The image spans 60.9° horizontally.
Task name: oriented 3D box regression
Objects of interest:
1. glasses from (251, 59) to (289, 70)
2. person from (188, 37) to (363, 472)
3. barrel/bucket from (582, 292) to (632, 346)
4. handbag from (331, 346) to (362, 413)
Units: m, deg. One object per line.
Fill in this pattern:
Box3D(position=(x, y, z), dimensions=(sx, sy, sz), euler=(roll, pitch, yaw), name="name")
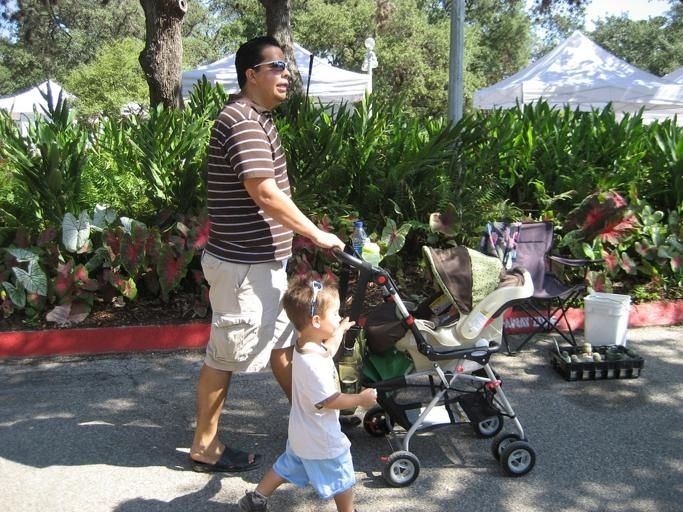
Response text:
Box3D(position=(-0.448, -1.291, 3.875), dimensions=(0.254, 0.064, 0.101), euler=(-13, 22, -38), name="glasses")
Box3D(position=(-0.451, -0.005, 4.182), dimensions=(1.057, 2.943, 1.170), euler=(3, 7, 24), name="person")
Box3D(position=(2.538, 0.575, 5.806), dimensions=(0.502, 0.486, 0.470), euler=(9, 10, -2), name="barrel/bucket")
Box3D(position=(0.063, 0.837, 4.095), dimensions=(0.263, 0.508, 0.385), euler=(-1, 3, 1), name="handbag")
